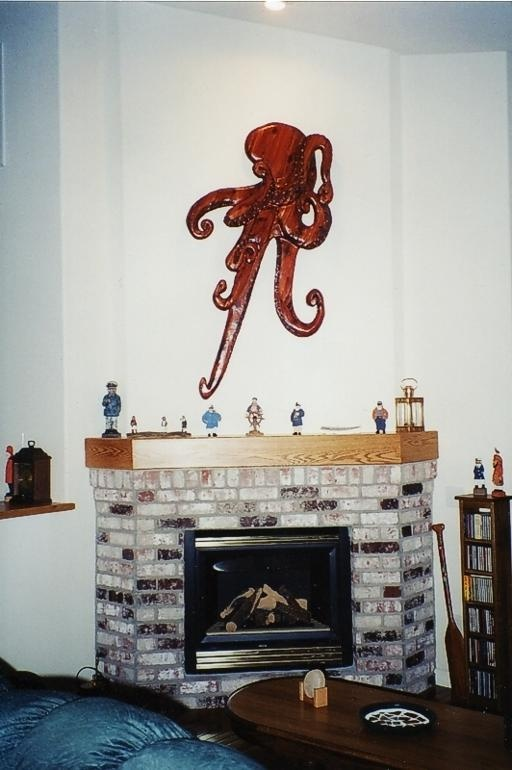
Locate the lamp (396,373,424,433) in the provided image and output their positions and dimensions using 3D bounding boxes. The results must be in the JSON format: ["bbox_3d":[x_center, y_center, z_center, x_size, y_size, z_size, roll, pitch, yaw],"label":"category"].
[{"bbox_3d":[0.698,0.085,4.769,0.133,0.269,0.276,-1,-6,9],"label":"lamp"}]

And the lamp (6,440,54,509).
[{"bbox_3d":[-1.011,0.389,4.601,0.209,0.281,0.154,0,-6,0],"label":"lamp"}]
